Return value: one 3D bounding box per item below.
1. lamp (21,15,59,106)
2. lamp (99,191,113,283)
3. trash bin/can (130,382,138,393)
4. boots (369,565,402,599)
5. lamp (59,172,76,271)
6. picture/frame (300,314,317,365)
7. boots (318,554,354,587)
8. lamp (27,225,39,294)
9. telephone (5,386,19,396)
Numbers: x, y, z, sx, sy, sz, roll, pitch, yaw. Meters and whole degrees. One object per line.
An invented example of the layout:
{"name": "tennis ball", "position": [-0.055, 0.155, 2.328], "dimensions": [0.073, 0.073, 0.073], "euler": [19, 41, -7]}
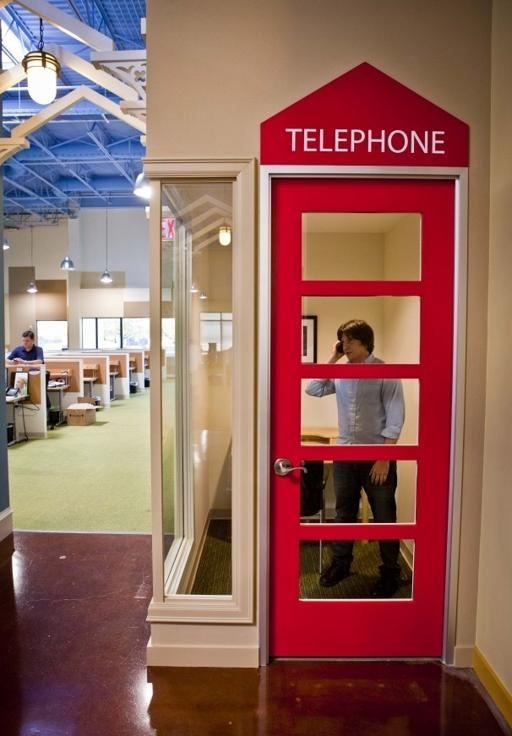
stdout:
{"name": "lamp", "position": [-1.102, -1.610, 3.014], "dimensions": [0.142, 0.516, 0.159], "euler": [-1, -1, -41]}
{"name": "lamp", "position": [-3.137, -2.547, 12.426], "dimensions": [0.237, 1.447, 0.266], "euler": [1, 3, -5]}
{"name": "trash bin/can", "position": [-2.528, 0.412, 12.232], "dimensions": [0.141, 0.177, 0.147], "euler": [-1, -2, -3]}
{"name": "boots", "position": [0.527, 0.862, 2.426], "dimensions": [0.062, 0.127, 0.179], "euler": [3, 2, 37]}
{"name": "lamp", "position": [-3.942, -2.994, 12.482], "dimensions": [0.346, 1.837, 1.886], "euler": [-2, 5, -16]}
{"name": "picture/frame", "position": [0.193, -0.109, 2.300], "dimensions": [0.009, 0.178, 0.083], "euler": [0, 1, 43]}
{"name": "boots", "position": [0.321, 0.802, 2.391], "dimensions": [0.174, 0.087, 0.066], "euler": [-7, 11, -39]}
{"name": "lamp", "position": [-5.017, -2.404, 13.193], "dimensions": [0.218, 1.495, 0.115], "euler": [-2, 4, -19]}
{"name": "telephone", "position": [-2.725, 0.256, 6.599], "dimensions": [0.128, 0.043, 0.160], "euler": [12, 34, -19]}
